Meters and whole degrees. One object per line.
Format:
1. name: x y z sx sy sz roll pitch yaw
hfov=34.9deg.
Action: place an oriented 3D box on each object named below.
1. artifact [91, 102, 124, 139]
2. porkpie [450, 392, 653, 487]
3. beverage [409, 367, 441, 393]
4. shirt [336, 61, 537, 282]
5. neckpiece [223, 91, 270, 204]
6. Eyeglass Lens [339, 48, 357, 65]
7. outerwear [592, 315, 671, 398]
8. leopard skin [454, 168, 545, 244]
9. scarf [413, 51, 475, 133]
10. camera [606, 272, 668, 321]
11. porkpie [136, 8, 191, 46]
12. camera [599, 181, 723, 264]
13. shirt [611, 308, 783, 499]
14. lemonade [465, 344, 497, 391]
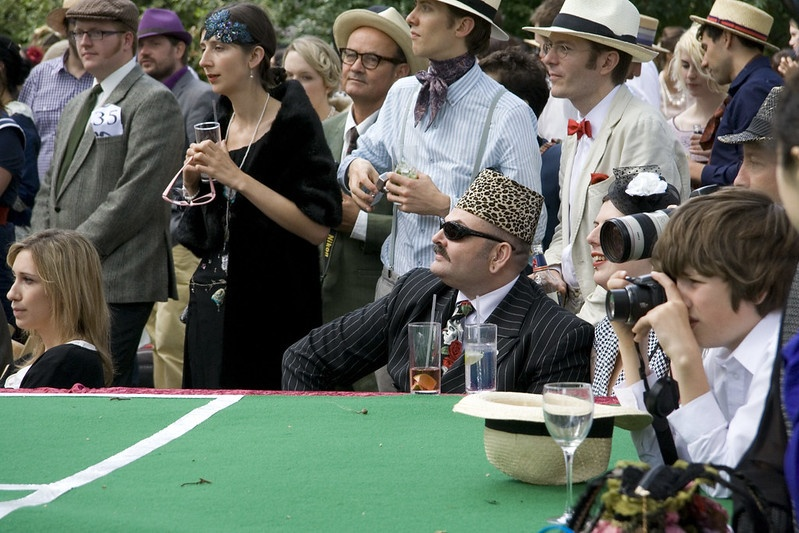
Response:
1. artifact: -2.034 -0.988 8.768 0.194 0.242 0.088 -5 7 4
2. porkpie: 0.626 0.785 5.752 0.520 0.225 0.542 2 -3 24
3. beverage: 0.131 0.586 6.684 0.125 0.107 0.135 1 -4 -7
4. shirt: 0.216 -0.548 7.942 0.678 1.191 1.215 0 9 -44
5. neckpiece: -0.999 -0.773 8.356 0.133 0.613 0.290 10 -4 -11
6. Eyeglass Lens: -0.369 -1.463 9.089 0.116 0.044 0.125 10 2 29
7. outerwear: 1.170 0.446 6.329 0.205 0.439 0.332 15 -15 -37
8. leopard skin: 0.571 -0.334 7.152 0.403 0.227 0.405 31 -5 -19
9. scarf: 0.289 -1.077 8.009 0.271 0.543 0.298 7 15 -39
10. camera: 1.114 0.140 5.998 0.209 0.194 0.209 0 -3 -7
11. porkpie: -2.092 -2.086 11.126 0.353 0.157 0.329 -1 5 2
12. camera: 1.304 -0.180 6.454 0.523 0.212 0.328 -17 5 -27
13. shirt: 1.458 0.603 5.932 0.770 0.855 0.473 5 1 43
14. lemonade: 0.437 0.495 6.570 0.187 0.361 0.211 2 0 5
